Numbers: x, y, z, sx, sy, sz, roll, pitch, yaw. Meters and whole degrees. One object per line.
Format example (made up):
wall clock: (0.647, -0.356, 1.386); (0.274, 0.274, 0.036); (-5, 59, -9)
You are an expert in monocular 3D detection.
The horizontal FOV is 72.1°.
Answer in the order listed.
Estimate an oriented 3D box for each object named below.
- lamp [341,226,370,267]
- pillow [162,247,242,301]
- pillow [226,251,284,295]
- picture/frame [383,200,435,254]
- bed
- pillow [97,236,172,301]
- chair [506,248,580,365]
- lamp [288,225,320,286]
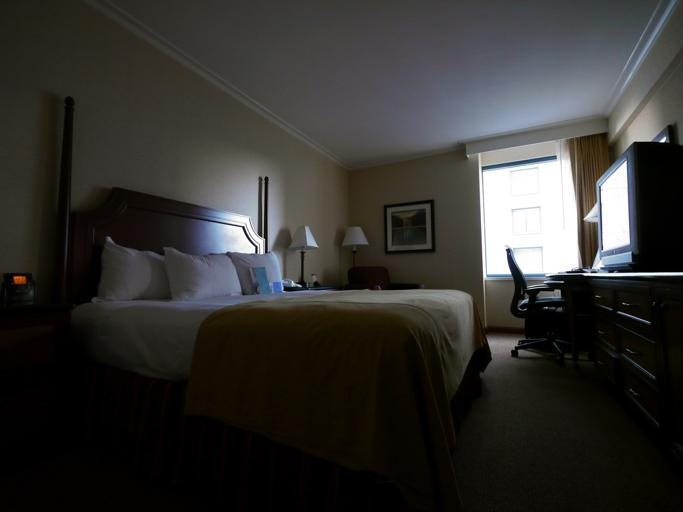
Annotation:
lamp: (0.256, -0.193, 6.586); (0.353, 0.696, 0.372); (-3, -2, 29)
pillow: (-1.062, 0.178, 3.696); (0.243, 0.440, 0.674); (-14, -10, 31)
pillow: (-0.750, 0.105, 4.021); (0.107, 0.379, 0.371); (-23, -17, 38)
picture/frame: (0.923, -0.403, 6.429); (0.676, 0.789, 0.040); (-4, -27, 11)
bed: (-0.304, 0.325, 3.046); (1.878, 1.344, 2.100); (-2, -1, 18)
pillow: (-1.544, 0.156, 3.588); (0.179, 0.475, 0.620); (-3, -8, 24)
chair: (2.112, 0.467, 4.914); (0.631, 1.161, 0.736); (-3, -6, 25)
lamp: (-0.447, -0.009, 5.394); (0.306, 0.698, 0.366); (-2, -5, 40)
